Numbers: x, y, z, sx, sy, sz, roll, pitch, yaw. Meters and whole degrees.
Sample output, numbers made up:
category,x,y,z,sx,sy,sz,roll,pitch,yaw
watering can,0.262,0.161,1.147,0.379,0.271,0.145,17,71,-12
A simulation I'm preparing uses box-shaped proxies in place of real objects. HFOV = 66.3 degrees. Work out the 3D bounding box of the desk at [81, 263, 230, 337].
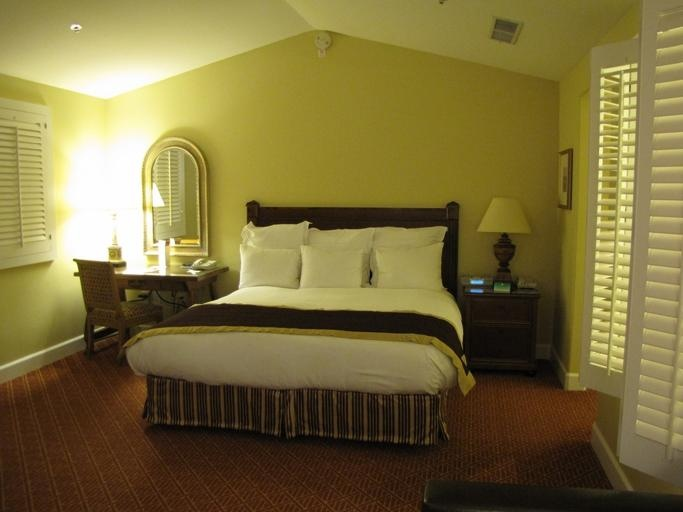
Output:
category,x,y,z,sx,sy,sz,roll,pitch,yaw
desk,-1.931,0.413,5.581,1.350,0.708,0.765,2,18,13

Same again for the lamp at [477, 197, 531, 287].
category,x,y,z,sx,sy,sz,roll,pitch,yaw
lamp,1.580,-0.167,5.098,0.468,0.794,0.449,4,12,18

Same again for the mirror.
category,x,y,z,sx,sy,sz,roll,pitch,yaw
mirror,-1.844,-0.648,5.770,0.701,1.315,0.101,0,3,-1

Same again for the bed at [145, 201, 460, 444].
category,x,y,z,sx,sy,sz,roll,pitch,yaw
bed,-0.159,0.380,4.597,2.295,1.524,2.198,2,12,13

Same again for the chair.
category,x,y,z,sx,sy,sz,roll,pitch,yaw
chair,-2.258,0.531,5.366,0.603,0.991,0.746,4,7,13

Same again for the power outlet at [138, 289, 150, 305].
category,x,y,z,sx,sy,sz,roll,pitch,yaw
power outlet,-2.267,0.467,5.990,0.115,0.076,0.118,4,15,7

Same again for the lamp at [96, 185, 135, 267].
category,x,y,z,sx,sy,sz,roll,pitch,yaw
lamp,-2.490,-0.336,5.725,0.355,0.894,0.359,1,9,-21

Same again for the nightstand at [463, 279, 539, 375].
category,x,y,z,sx,sy,sz,roll,pitch,yaw
nightstand,1.444,0.677,5.235,0.812,1.058,0.704,0,3,7
